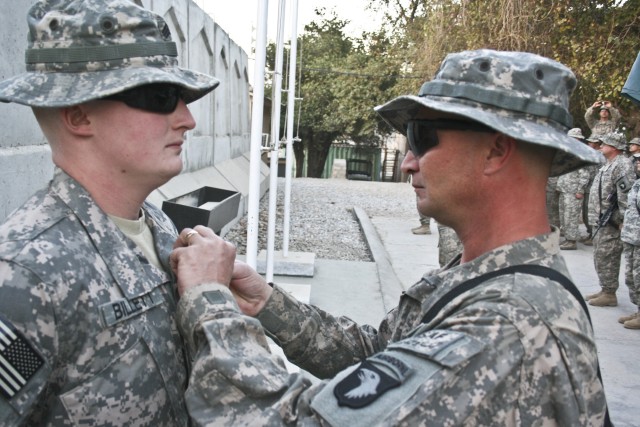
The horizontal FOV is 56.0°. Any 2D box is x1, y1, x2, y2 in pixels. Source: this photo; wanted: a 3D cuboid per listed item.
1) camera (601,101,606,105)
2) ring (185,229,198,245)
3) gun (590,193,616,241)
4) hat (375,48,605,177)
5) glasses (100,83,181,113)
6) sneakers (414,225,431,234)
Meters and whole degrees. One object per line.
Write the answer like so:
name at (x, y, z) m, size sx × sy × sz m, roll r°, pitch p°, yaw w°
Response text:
camera at (4.759, -1.836, 10.038) m, size 0.023 × 0.073 × 0.071 m, roll 2°, pitch 12°, yaw -16°
ring at (-0.567, 0.097, 2.621) m, size 0.023 × 0.064 × 0.045 m, roll 28°, pitch -10°, yaw -35°
gun at (3.647, 0.042, 7.689) m, size 0.286 × 0.617 × 0.100 m, roll 25°, pitch -16°, yaw 25°
hat at (0.726, -0.478, 2.506) m, size 0.624 × 0.317 × 0.597 m, roll 12°, pitch 9°, yaw 7°
glasses at (-0.725, -0.476, 2.503) m, size 0.186 × 0.056 × 0.143 m, roll -6°, pitch 17°, yaw -1°
sneakers at (1.829, 0.306, 10.692) m, size 0.177 × 0.147 × 0.223 m, roll 3°, pitch 3°, yaw -3°
